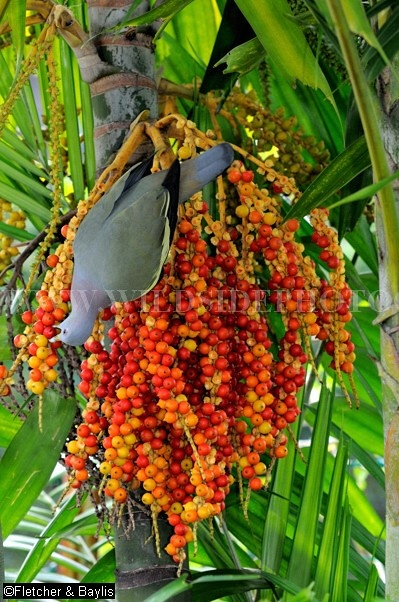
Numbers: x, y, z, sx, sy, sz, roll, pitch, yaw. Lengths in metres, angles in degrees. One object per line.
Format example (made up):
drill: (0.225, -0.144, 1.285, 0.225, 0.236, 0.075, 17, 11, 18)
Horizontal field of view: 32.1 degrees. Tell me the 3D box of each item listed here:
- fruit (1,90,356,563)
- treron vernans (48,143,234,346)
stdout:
fruit: (0.036, 0.047, 0.714, 0.361, 0.122, 0.436, -8, 56, 27)
treron vernans: (-0.058, -0.055, 0.652, 0.094, 0.108, 0.235, 34, 109, 24)
